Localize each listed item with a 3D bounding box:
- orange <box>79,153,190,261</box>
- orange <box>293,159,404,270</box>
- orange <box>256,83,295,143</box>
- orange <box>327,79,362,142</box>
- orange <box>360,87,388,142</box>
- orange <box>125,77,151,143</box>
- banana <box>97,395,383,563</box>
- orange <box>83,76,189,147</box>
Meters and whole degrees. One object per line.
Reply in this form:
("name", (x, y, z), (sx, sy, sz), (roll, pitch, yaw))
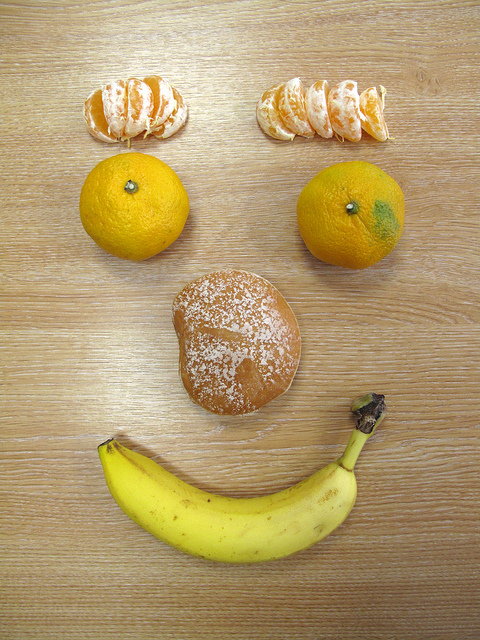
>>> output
("orange", (-0.133, -0.147, 0.851), (0.154, 0.074, 0.129), (-18, 94, -8))
("orange", (0.135, -0.129, 0.846), (0.162, 0.079, 0.126), (6, 94, 13))
("orange", (0.057, -0.303, 0.984), (0.056, 0.158, 0.073), (3, 98, -2))
("orange", (0.149, -0.291, 0.938), (0.051, 0.071, 0.070), (-7, 62, -4))
("orange", (0.187, -0.289, 0.946), (0.043, 0.059, 0.059), (-2, 62, -2))
("orange", (-0.142, -0.303, 0.943), (0.037, 0.057, 0.080), (1, 61, 0))
("banana", (0.013, 0.235, 0.947), (0.441, 0.075, 0.170), (1, 75, -30))
("orange", (-0.119, -0.308, 0.951), (0.129, 0.047, 0.075), (16, 98, 40))
